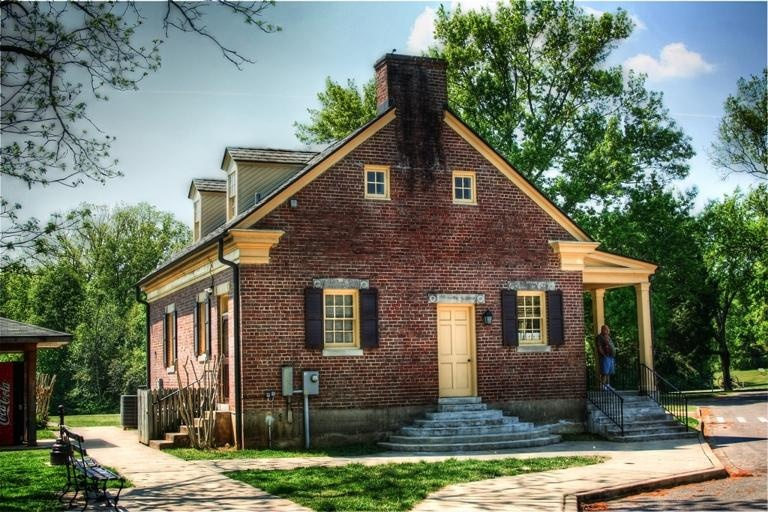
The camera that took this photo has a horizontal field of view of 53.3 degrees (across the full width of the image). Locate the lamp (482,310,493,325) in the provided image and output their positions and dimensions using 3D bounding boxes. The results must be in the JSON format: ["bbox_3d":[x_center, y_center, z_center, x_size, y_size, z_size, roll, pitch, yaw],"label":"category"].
[{"bbox_3d":[3.567,2.147,26.414,0.430,0.574,0.422,1,1,34],"label":"lamp"}]

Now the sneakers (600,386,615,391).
[{"bbox_3d":[8.069,4.752,27.474,0.218,0.199,0.462,1,-1,-4],"label":"sneakers"}]
